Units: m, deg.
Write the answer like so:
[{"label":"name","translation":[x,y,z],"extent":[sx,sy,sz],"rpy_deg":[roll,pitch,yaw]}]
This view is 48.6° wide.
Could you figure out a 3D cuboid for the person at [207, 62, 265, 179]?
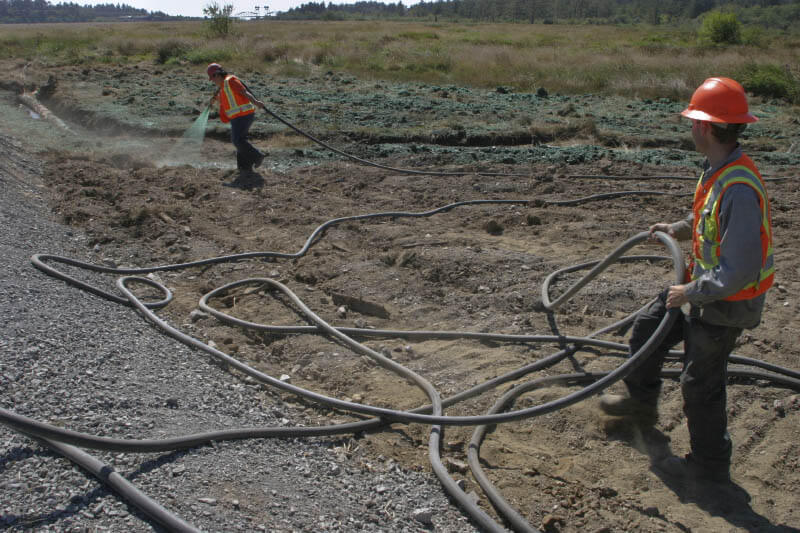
[{"label":"person","translation":[-2.910,-2.615,15.898],"extent":[0.912,2.001,1.222],"rpy_deg":[-2,21,-10]}]

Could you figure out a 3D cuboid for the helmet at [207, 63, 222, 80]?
[{"label":"helmet","translation":[-3.219,-3.435,15.650],"extent":[0.289,0.276,0.421],"rpy_deg":[-1,17,-9]}]
